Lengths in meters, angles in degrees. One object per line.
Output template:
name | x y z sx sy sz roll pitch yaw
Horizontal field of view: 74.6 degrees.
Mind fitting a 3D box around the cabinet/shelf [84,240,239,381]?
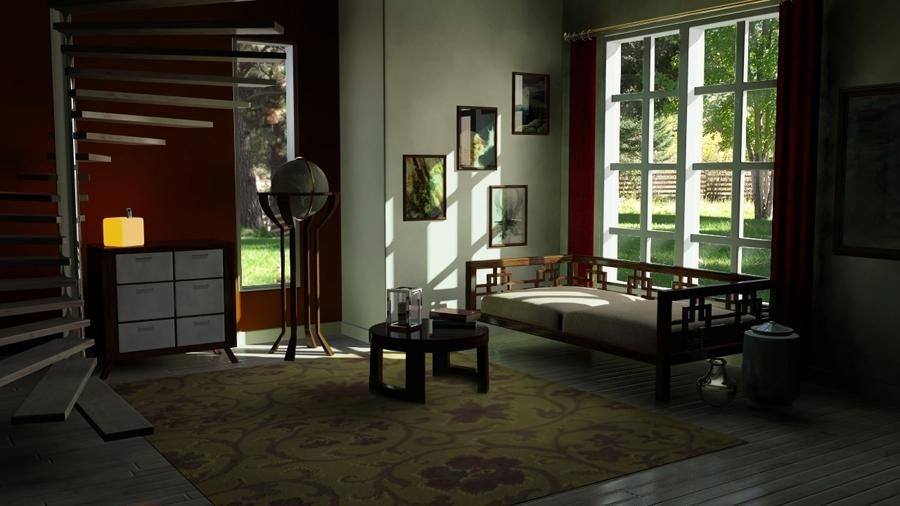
cabinet/shelf | -3.548 0.671 7.158 1.846 1.484 0.972 -2 1 -26

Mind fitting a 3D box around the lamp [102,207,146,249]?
lamp | -3.949 -0.303 7.164 0.512 0.613 0.513 0 0 43

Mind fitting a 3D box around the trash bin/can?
trash bin/can | 3.323 1.154 6.110 0.556 0.798 0.318 5 16 21

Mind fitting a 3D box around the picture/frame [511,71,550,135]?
picture/frame | 1.163 -2.166 8.678 0.765 0.902 0.036 -10 16 -33

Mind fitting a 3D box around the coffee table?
coffee table | -0.240 1.104 6.698 1.082 0.500 1.001 0 2 -2
